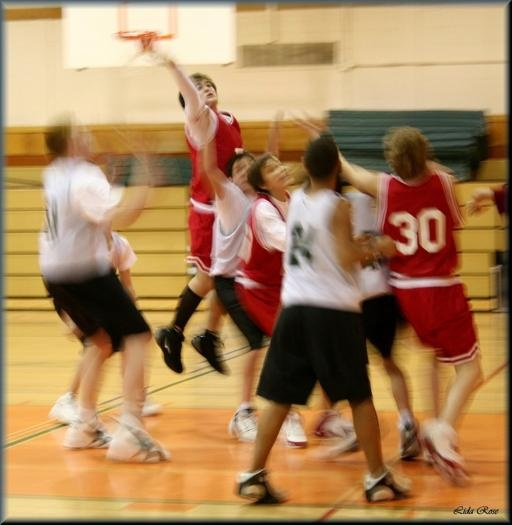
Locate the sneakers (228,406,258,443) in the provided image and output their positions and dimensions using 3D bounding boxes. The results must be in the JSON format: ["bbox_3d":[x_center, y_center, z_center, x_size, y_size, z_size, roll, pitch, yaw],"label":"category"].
[{"bbox_3d":[-0.058,0.701,2.952,0.070,0.088,0.193,21,3,-27],"label":"sneakers"}]

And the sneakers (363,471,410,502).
[{"bbox_3d":[0.419,0.687,2.131,0.118,0.073,0.095,4,-8,-36],"label":"sneakers"}]

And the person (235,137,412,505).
[{"bbox_3d":[0.232,0.192,2.211,0.542,1.243,0.381,0,1,9],"label":"person"}]

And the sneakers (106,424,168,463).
[{"bbox_3d":[-0.466,0.711,2.668,0.203,0.141,0.125,-1,-7,-2],"label":"sneakers"}]

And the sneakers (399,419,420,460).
[{"bbox_3d":[0.592,0.679,2.566,0.073,0.149,0.056,0,8,2],"label":"sneakers"}]

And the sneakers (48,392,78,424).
[{"bbox_3d":[-0.938,0.706,3.262,0.086,0.149,0.142,24,-9,-34],"label":"sneakers"}]

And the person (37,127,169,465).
[{"bbox_3d":[-0.627,0.121,2.701,0.532,1.345,0.380,0,2,35],"label":"person"}]

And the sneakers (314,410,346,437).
[{"bbox_3d":[0.324,0.703,2.917,0.089,0.112,0.124,-7,-35,-10],"label":"sneakers"}]

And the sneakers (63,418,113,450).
[{"bbox_3d":[-0.718,0.730,2.913,0.247,0.121,0.089,4,0,-40],"label":"sneakers"}]

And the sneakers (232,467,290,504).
[{"bbox_3d":[0.008,0.717,2.198,0.206,0.155,0.071,7,1,-22],"label":"sneakers"}]
